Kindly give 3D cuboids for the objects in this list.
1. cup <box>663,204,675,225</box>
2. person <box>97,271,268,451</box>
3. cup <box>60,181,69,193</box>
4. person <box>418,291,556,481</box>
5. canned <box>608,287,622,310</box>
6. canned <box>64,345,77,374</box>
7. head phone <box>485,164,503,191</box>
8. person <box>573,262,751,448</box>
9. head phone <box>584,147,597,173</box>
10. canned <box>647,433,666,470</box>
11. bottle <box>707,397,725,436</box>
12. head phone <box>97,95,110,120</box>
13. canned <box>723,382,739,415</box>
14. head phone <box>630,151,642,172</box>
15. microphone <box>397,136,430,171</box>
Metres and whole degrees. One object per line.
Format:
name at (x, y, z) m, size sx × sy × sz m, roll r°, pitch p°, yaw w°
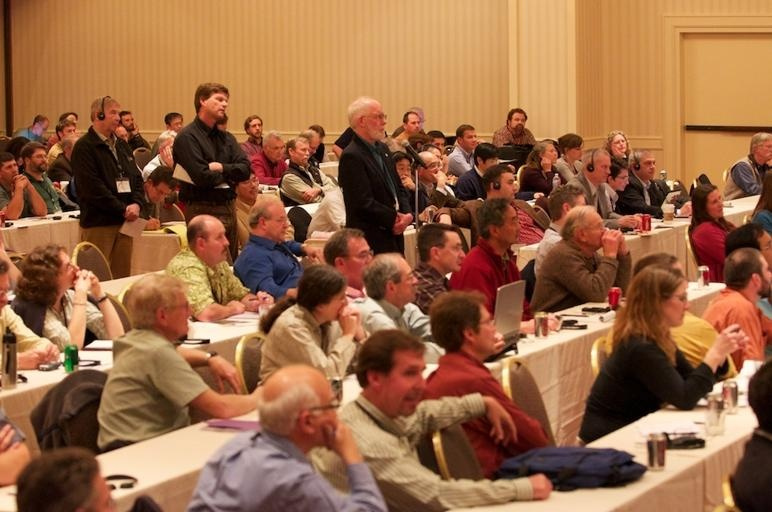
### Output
cup at (3.501, -0.527, 8.173) m, size 0.173 × 0.216 × 0.184 m, roll 0°, pitch -6°, yaw 0°
person at (-1.031, 0.762, 3.298) m, size 0.699 × 1.311 × 0.574 m, roll 2°, pitch 9°, yaw -28°
cup at (-4.698, -1.006, 9.639) m, size 0.138 × 0.178 × 0.147 m, roll 2°, pitch -9°, yaw 0°
person at (0.498, 0.609, 3.081) m, size 0.609 × 0.859 × 0.589 m, roll -1°, pitch -2°, yaw -41°
canned at (1.719, 0.319, 4.978) m, size 0.096 × 0.168 × 0.099 m, roll 18°, pitch 19°, yaw 35°
canned at (-1.701, 0.547, 3.569) m, size 0.065 × 0.150 × 0.117 m, roll -3°, pitch 3°, yaw -29°
head phone at (1.152, -0.863, 7.284) m, size 0.229 × 0.271 × 0.204 m, roll 15°, pitch 7°, yaw 2°
person at (1.508, 0.558, 3.629) m, size 0.684 × 1.427 × 0.588 m, roll -2°, pitch 26°, yaw 8°
head phone at (2.506, -1.176, 8.157) m, size 0.100 × 0.254 × 0.169 m, roll 7°, pitch 14°, yaw 42°
canned at (1.070, 0.772, 2.614) m, size 0.070 × 0.133 × 0.073 m, roll -3°, pitch 1°, yaw -16°
bottle at (1.498, 0.720, 3.016) m, size 0.091 × 0.177 × 0.098 m, roll 2°, pitch -9°, yaw 0°
head phone at (-2.764, -1.433, 6.425) m, size 0.115 × 0.230 × 0.158 m, roll -3°, pitch 3°, yaw -38°
canned at (1.706, 0.692, 3.293) m, size 0.090 × 0.166 × 0.093 m, roll 0°, pitch 0°, yaw 42°
head phone at (3.519, -1.356, 9.432) m, size 0.168 × 0.232 × 0.240 m, roll -3°, pitch -35°, yaw 11°
microphone at (0.234, -0.921, 5.988) m, size 0.201 × 0.255 × 0.785 m, roll 22°, pitch 8°, yaw 4°
